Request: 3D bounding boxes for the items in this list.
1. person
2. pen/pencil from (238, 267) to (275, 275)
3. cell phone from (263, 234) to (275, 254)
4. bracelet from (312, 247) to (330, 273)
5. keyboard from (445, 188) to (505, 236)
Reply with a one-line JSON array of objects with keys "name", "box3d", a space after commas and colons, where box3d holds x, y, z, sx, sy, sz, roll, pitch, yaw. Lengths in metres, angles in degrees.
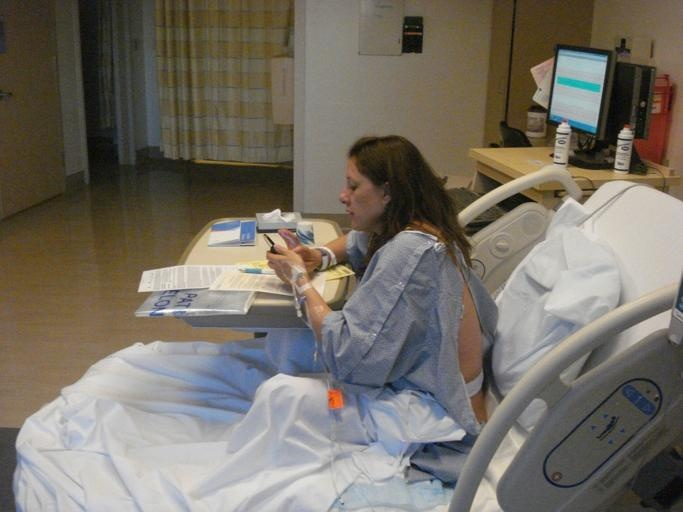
[{"name": "person", "box3d": [0.135, 0.163, 1.964, 0.741, 1.088, 0.699, 12, 20, 33]}, {"name": "pen/pencil", "box3d": [-0.284, 0.050, 1.953, 0.073, 0.014, 0.012, 7, 5, 4]}, {"name": "cell phone", "box3d": [-0.263, -0.040, 2.115, 0.036, 0.101, 0.021, 14, 63, 26]}, {"name": "bracelet", "box3d": [-0.079, 0.022, 2.075, 0.045, 0.080, 0.080, 2, 14, -13]}, {"name": "keyboard", "box3d": [0.649, -0.227, 2.834, 0.284, 0.073, 0.282, -25, 41, -30]}]
